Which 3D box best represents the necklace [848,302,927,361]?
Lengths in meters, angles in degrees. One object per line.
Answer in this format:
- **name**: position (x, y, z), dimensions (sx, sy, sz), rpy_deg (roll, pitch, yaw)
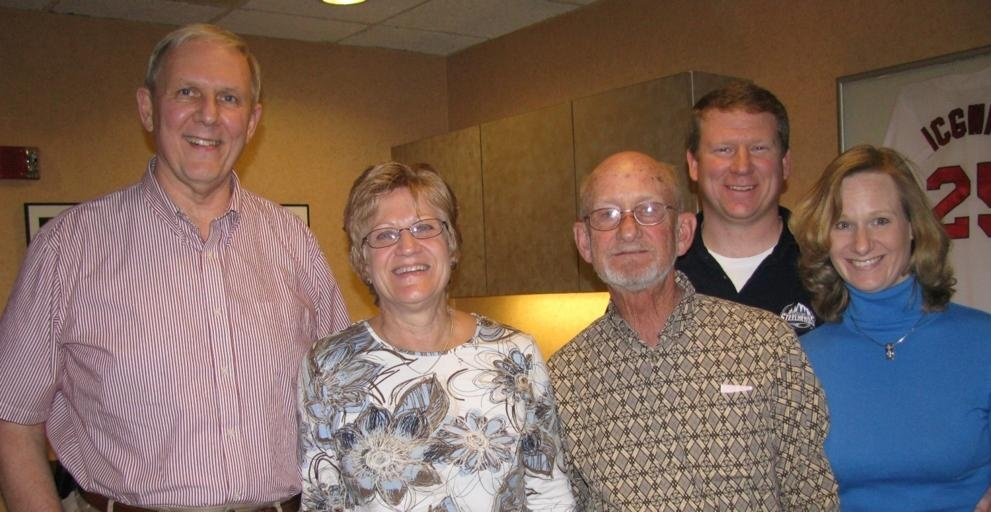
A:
- **necklace**: position (1.956, 0.395, 4.183), dimensions (0.374, 0.104, 0.222), rpy_deg (-7, 35, 34)
